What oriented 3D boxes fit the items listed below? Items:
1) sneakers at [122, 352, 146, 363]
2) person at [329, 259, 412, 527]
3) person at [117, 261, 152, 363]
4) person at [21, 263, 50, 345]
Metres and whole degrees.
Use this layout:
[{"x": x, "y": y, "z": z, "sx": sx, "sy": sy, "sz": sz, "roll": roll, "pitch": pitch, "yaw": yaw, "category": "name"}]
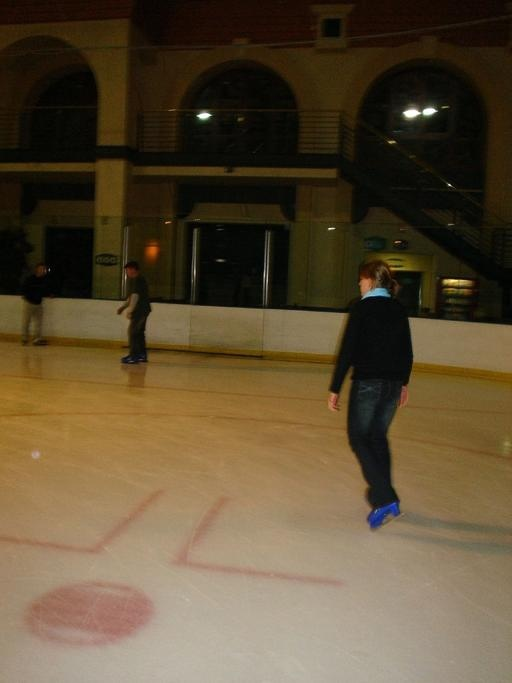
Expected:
[{"x": -2.192, "y": 0.295, "z": 11.059, "sx": 0.446, "sy": 0.178, "sz": 0.169, "roll": 2, "pitch": 2, "yaw": -21, "category": "sneakers"}, {"x": 0.638, "y": 0.289, "z": 3.457, "sx": 0.417, "sy": 1.482, "sz": 0.306, "roll": 5, "pitch": 4, "yaw": 13, "category": "person"}, {"x": -2.103, "y": -0.480, "z": 10.715, "sx": 0.492, "sy": 1.809, "sz": 0.838, "roll": 3, "pitch": 4, "yaw": -11, "category": "person"}, {"x": -4.878, "y": -0.812, "z": 13.617, "sx": 0.521, "sy": 1.787, "sz": 0.905, "roll": 2, "pitch": 4, "yaw": -18, "category": "person"}]
